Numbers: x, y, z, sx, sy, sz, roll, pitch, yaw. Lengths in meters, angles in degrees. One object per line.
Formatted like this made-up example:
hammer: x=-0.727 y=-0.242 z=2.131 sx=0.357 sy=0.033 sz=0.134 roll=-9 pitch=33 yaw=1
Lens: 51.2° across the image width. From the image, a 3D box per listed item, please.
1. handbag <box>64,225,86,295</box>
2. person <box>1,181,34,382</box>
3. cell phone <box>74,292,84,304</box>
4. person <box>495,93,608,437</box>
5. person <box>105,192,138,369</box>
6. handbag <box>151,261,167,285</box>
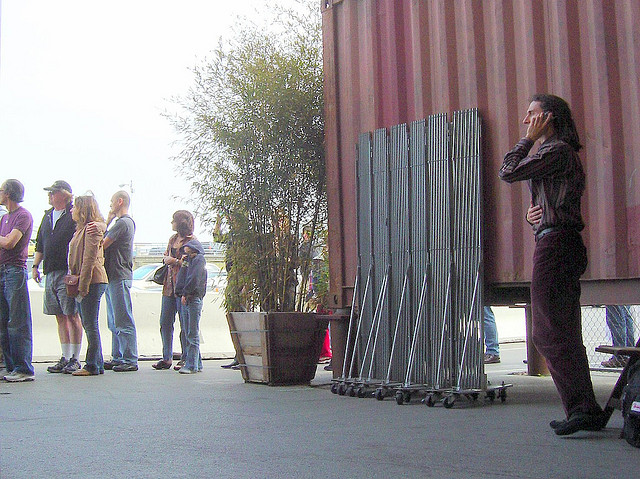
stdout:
handbag: x=-2.865 y=0.263 z=7.828 sx=0.238 sy=0.766 sz=0.212 roll=1 pitch=-3 yaw=-10
person: x=-3.237 y=0.556 z=7.120 sx=0.291 sy=1.855 sz=0.456 roll=3 pitch=-4 yaw=-43
cell phone: x=-2.811 y=0.691 z=7.789 sx=0.085 sy=0.103 sz=0.072 roll=6 pitch=-6 yaw=-44
person: x=1.550 y=0.132 z=4.409 sx=0.575 sy=2.251 sz=0.334 roll=-2 pitch=-3 yaw=26
person: x=-2.556 y=0.504 z=8.584 sx=0.410 sy=2.282 sz=0.705 roll=1 pitch=-3 yaw=-19
handbag: x=-2.040 y=0.464 z=8.551 sx=0.133 sy=0.245 sz=0.249 roll=1 pitch=-4 yaw=10
